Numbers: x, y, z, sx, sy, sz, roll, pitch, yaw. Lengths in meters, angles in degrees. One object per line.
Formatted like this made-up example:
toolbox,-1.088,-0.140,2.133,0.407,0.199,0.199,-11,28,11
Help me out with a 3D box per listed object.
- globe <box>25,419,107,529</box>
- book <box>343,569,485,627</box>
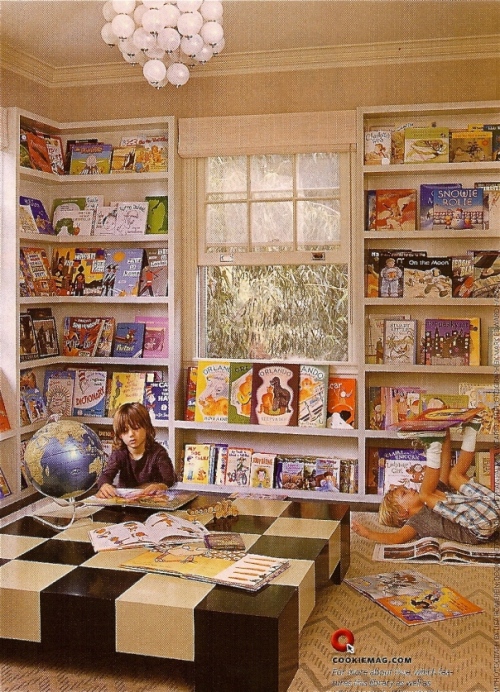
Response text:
globe,-0.379,0.229,1.182,0.138,0.256,0.152,1,7,-14
book,0.264,0.410,0.943,0.133,0.048,0.206,-1,5,-25
